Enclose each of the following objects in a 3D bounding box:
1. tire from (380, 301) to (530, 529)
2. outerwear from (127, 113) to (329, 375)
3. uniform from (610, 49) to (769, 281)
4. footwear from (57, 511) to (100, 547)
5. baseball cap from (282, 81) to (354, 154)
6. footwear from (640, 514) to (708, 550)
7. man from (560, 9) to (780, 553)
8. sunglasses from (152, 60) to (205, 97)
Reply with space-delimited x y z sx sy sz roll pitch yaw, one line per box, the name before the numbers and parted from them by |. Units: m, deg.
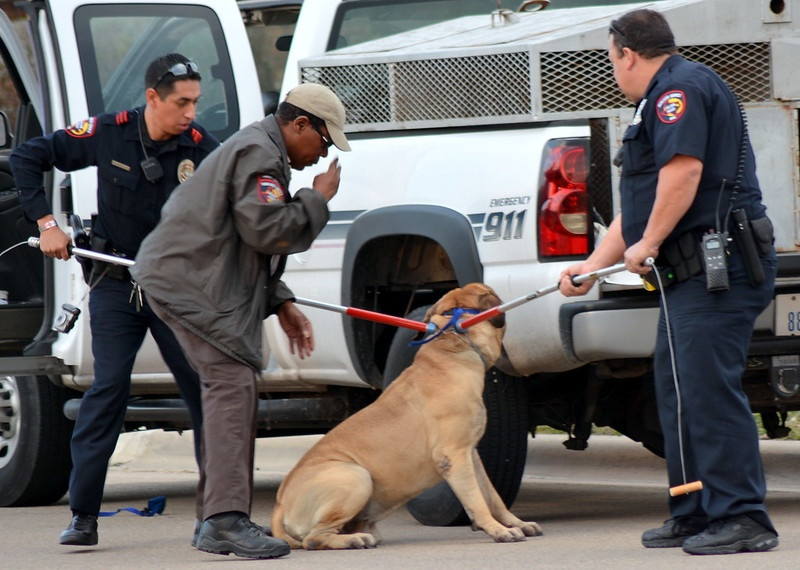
tire | 0.308 0.701 7.461 0.541 1.238 1.321 4 -15 -33
outerwear | -0.905 -0.197 7.025 1.057 1.322 0.301 -1 7 1
uniform | 1.483 -0.576 6.933 1.019 1.070 1.395 -5 3 17
footwear | -1.796 1.357 7.489 0.208 0.214 0.240 -3 7 -14
baseball cap | -0.424 -0.875 7.085 0.473 0.201 0.271 26 8 -13
footwear | 1.413 1.289 7.086 0.361 0.116 0.126 1 -2 3
man | 1.411 -0.026 6.938 1.021 2.766 0.624 0 8 13
sunglasses | -1.241 -1.135 7.481 0.232 0.057 0.185 -22 -7 31
